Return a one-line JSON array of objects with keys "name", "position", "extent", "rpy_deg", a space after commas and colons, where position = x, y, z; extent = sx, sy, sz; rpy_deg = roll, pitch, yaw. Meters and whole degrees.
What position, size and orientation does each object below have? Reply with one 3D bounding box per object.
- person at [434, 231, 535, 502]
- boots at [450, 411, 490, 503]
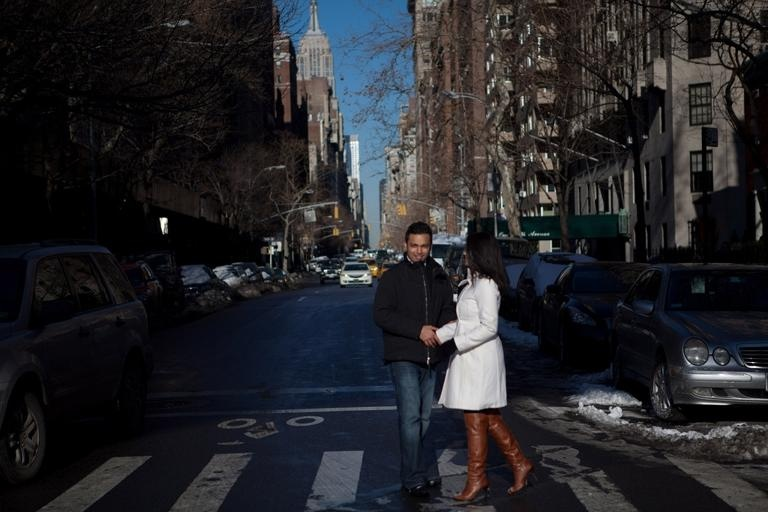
[{"name": "person", "position": [0.891, 1.028, 6.689], "extent": [0.787, 2.481, 0.453], "rpy_deg": [-3, 2, -22]}, {"name": "boots", "position": [0.808, 1.849, 6.603], "extent": [0.228, 0.814, 0.339], "rpy_deg": [0, 3, 38]}]
